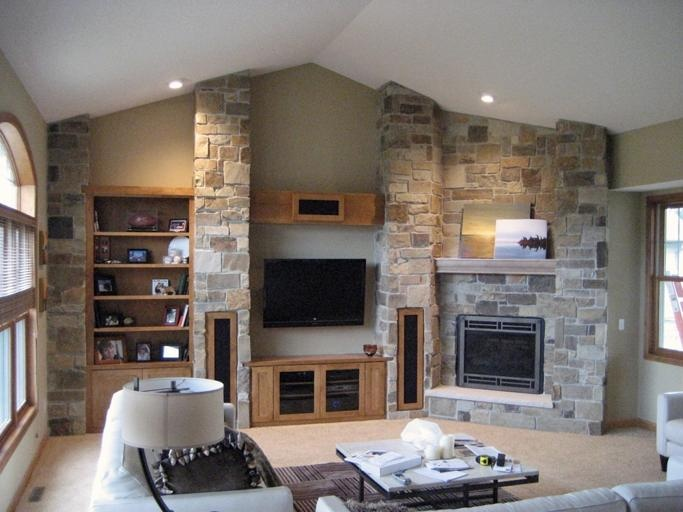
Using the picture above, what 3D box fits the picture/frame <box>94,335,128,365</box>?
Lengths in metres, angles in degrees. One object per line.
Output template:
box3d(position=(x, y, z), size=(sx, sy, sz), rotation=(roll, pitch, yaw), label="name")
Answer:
box3d(position=(-2.740, 1.134, 6.667), size=(0.378, 0.333, 0.025), rotation=(1, -15, -24), label="picture/frame")

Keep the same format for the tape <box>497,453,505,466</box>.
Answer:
box3d(position=(1.348, 1.725, 4.738), size=(0.051, 0.022, 0.094), rotation=(1, 12, 6), label="tape")

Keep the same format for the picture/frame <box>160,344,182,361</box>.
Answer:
box3d(position=(-2.035, 1.185, 6.811), size=(0.331, 0.239, 0.169), rotation=(1, -12, -7), label="picture/frame")

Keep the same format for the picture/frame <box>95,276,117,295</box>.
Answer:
box3d(position=(-2.816, 0.355, 6.701), size=(0.217, 0.222, 0.094), rotation=(-2, 7, -27), label="picture/frame")

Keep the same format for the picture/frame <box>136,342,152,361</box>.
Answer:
box3d(position=(-2.385, 1.174, 6.778), size=(0.230, 0.274, 0.028), rotation=(1, -18, -16), label="picture/frame")

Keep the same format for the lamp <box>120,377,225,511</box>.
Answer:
box3d(position=(-0.941, 1.121, 3.189), size=(0.534, 0.900, 0.360), rotation=(0, 6, -10), label="lamp")

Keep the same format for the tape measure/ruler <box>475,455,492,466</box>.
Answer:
box3d(position=(1.203, 1.736, 4.743), size=(0.108, 0.067, 0.038), rotation=(-1, -8, 28), label="tape measure/ruler")

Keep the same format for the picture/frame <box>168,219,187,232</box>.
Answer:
box3d(position=(-1.992, -0.366, 6.850), size=(0.186, 0.138, 0.018), rotation=(1, -18, 2), label="picture/frame")

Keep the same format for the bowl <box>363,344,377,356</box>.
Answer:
box3d(position=(0.369, 1.214, 7.167), size=(0.164, 0.110, 0.146), rotation=(0, -1, -11), label="bowl")

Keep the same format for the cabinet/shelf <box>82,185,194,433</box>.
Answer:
box3d(position=(-2.382, 0.736, 6.750), size=(1.448, 2.912, 0.363), rotation=(-1, 3, 4), label="cabinet/shelf")

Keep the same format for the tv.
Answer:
box3d(position=(-0.395, 0.453, 7.095), size=(1.014, 0.600, 0.099), rotation=(-1, 6, -10), label="tv")
